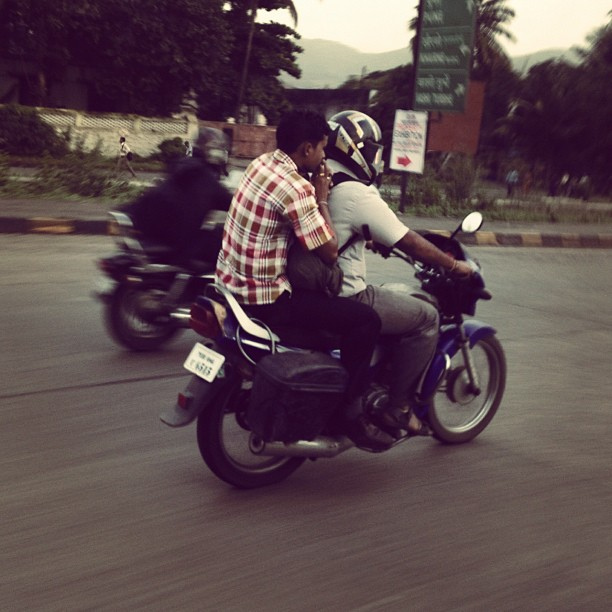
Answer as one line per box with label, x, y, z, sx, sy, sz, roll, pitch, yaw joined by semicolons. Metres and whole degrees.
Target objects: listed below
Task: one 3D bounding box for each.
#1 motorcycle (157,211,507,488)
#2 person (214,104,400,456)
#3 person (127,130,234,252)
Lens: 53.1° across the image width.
motorcycle;0.111;0.246;2.865;1.768;1.026;0.712;-5;23;-30
person;0.020;-0.051;2.659;0.799;1.561;0.396;2;14;-13
person;-0.720;-0.969;4.649;0.478;0.613;1.009;5;-11;10
